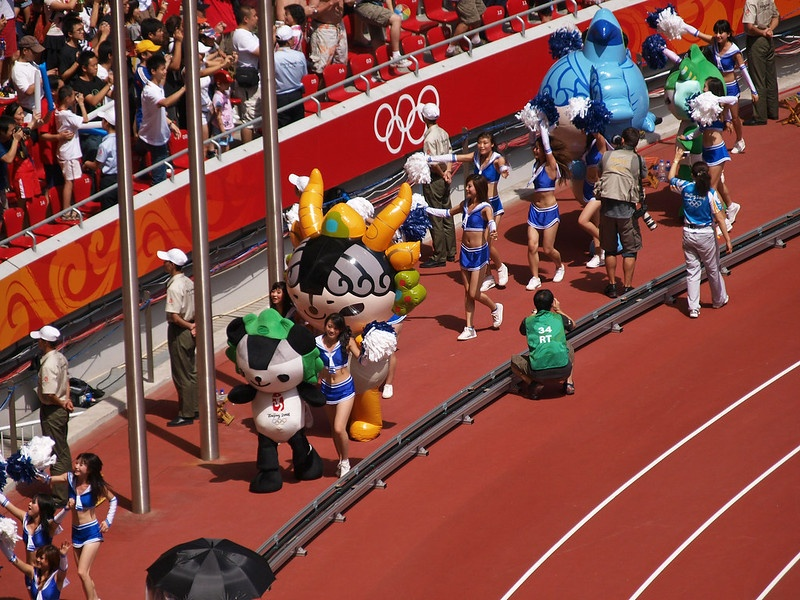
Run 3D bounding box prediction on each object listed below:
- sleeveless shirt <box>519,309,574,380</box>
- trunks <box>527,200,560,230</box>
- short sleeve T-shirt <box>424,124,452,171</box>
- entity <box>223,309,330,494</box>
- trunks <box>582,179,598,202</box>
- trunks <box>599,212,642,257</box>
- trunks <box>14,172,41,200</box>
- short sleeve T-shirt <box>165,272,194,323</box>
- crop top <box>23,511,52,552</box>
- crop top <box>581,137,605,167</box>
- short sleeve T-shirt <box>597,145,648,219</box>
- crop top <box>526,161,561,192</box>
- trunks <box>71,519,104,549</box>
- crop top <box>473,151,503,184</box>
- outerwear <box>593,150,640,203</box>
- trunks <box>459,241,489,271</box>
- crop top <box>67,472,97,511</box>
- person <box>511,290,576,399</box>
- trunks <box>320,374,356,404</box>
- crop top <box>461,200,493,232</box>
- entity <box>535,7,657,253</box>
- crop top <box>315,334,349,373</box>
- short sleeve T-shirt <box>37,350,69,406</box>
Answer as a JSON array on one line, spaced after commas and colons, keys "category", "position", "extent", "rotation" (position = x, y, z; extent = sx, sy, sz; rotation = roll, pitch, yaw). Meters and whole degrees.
[{"category": "sleeveless shirt", "position": [1.908, 0.549, 12.140], "extent": [0.643, 0.970, 0.410], "rotation": [-6, -47, 5]}, {"category": "trunks", "position": [2.204, -1.411, 14.177], "extent": [0.555, 0.453, 0.324], "rotation": [5, 15, 30]}, {"category": "short sleeve T-shirt", "position": [0.600, -2.461, 14.930], "extent": [0.342, 0.701, 0.682], "rotation": [12, 28, 30]}, {"category": "entity", "position": [-1.426, 1.186, 10.887], "extent": [1.014, 2.197, 0.869], "rotation": [-5, 12, -17]}, {"category": "trunks", "position": [3.022, -1.740, 14.878], "extent": [0.251, 0.531, 0.365], "rotation": [2, 10, 7]}, {"category": "trunks", "position": [3.259, -0.985, 13.765], "extent": [0.434, 0.346, 0.612], "rotation": [14, -41, 31]}, {"category": "trunks", "position": [-5.584, -1.695, 13.859], "extent": [0.356, 0.285, 0.335], "rotation": [1, -30, -21]}, {"category": "short sleeve T-shirt", "position": [-2.875, -0.039, 12.228], "extent": [0.295, 0.615, 0.583], "rotation": [7, 18, 13]}, {"category": "crop top", "position": [-3.690, 2.362, 9.451], "extent": [0.325, 0.371, 0.201], "rotation": [11, 13, 17]}, {"category": "crop top", "position": [3.042, -2.330, 14.680], "extent": [0.302, 0.603, 0.431], "rotation": [4, 8, 37]}, {"category": "short sleeve T-shirt", "position": [3.206, -1.800, 13.570], "extent": [0.715, 0.851, 0.439], "rotation": [7, 3, 20]}, {"category": "crop top", "position": [2.100, -1.966, 14.120], "extent": [0.348, 0.627, 0.602], "rotation": [-5, 6, -33]}, {"category": "trunks", "position": [-3.219, 2.455, 9.568], "extent": [0.324, 0.269, 0.256], "rotation": [-11, -7, -8]}, {"category": "crop top", "position": [1.296, -1.972, 13.757], "extent": [0.291, 0.523, 0.483], "rotation": [-24, 31, -37]}, {"category": "outerwear", "position": [3.167, -1.785, 13.487], "extent": [0.727, 0.840, 0.433], "rotation": [6, 3, 17]}, {"category": "trunks", "position": [1.058, -0.606, 13.241], "extent": [0.424, 0.428, 0.335], "rotation": [-2, 4, 25]}, {"category": "crop top", "position": [-3.232, 1.942, 9.468], "extent": [0.294, 0.368, 0.203], "rotation": [11, 29, 4]}, {"category": "person", "position": [1.978, 0.595, 12.328], "extent": [0.866, 1.508, 0.730], "rotation": [-8, 13, -17]}, {"category": "trunks", "position": [-0.718, 1.070, 10.751], "extent": [0.371, 0.301, 0.292], "rotation": [-18, 0, 11]}, {"category": "crop top", "position": [1.090, -1.129, 13.005], "extent": [0.322, 0.552, 0.524], "rotation": [-4, 5, -37]}, {"category": "entity", "position": [3.562, -3.119, 15.129], "extent": [2.284, 3.699, 2.707], "rotation": [-9, 22, -11]}, {"category": "crop top", "position": [-0.760, 0.628, 10.753], "extent": [0.488, 0.549, 0.306], "rotation": [-4, 10, -6]}, {"category": "short sleeve T-shirt", "position": [-4.135, 0.908, 11.072], "extent": [0.334, 0.588, 0.344], "rotation": [3, -29, -23]}]
